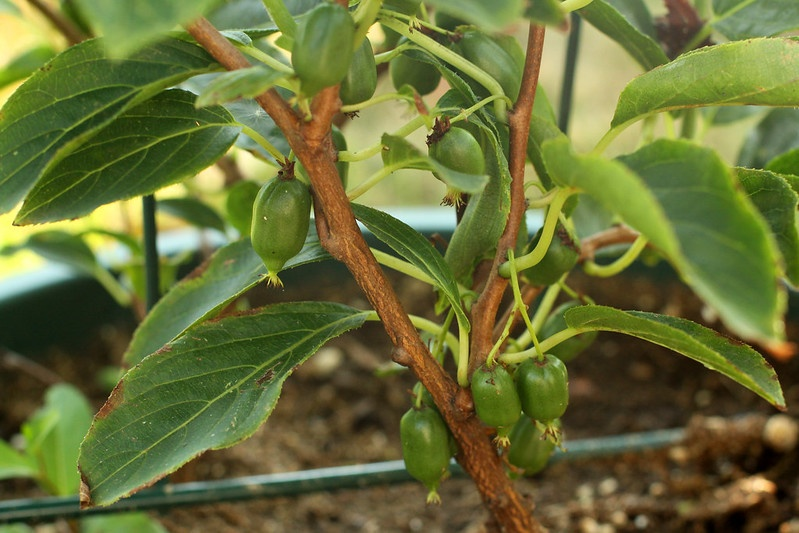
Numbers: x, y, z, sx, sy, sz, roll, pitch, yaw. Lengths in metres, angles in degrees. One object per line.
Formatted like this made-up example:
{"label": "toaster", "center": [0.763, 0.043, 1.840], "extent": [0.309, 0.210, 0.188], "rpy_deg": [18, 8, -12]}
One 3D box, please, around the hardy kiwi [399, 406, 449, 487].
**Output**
{"label": "hardy kiwi", "center": [0.035, 0.250, 1.107], "extent": [0.064, 0.120, 0.066], "rpy_deg": [-7, 3, 20]}

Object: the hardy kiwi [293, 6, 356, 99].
{"label": "hardy kiwi", "center": [-0.085, -0.246, 0.916], "extent": [0.080, 0.085, 0.061], "rpy_deg": [-18, 40, 0]}

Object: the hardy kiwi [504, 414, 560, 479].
{"label": "hardy kiwi", "center": [0.198, 0.283, 1.261], "extent": [0.069, 0.129, 0.059], "rpy_deg": [-29, 41, -13]}

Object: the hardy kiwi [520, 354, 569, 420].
{"label": "hardy kiwi", "center": [0.193, 0.162, 1.048], "extent": [0.059, 0.080, 0.061], "rpy_deg": [-8, 6, 39]}

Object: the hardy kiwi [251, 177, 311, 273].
{"label": "hardy kiwi", "center": [-0.151, -0.054, 1.018], "extent": [0.072, 0.119, 0.069], "rpy_deg": [-5, 20, -45]}
